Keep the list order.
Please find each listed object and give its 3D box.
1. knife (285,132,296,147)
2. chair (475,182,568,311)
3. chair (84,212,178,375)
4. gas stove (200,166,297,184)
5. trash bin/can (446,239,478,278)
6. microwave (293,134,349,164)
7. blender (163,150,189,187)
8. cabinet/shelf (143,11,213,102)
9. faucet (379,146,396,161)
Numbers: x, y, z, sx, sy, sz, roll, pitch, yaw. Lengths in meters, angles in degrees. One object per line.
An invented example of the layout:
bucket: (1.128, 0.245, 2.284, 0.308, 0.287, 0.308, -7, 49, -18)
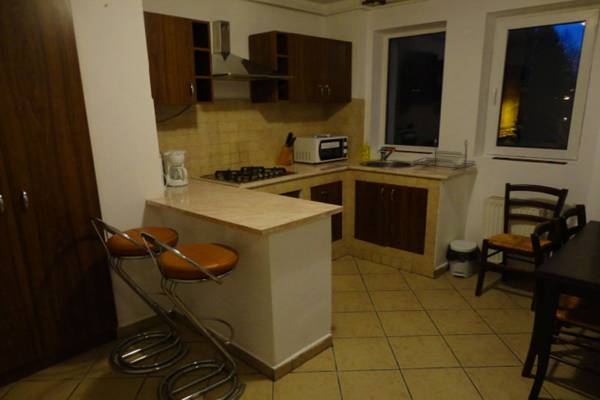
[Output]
knife: (-0.123, -0.742, 5.483, 0.114, 0.208, 0.065, 17, -7, 3)
chair: (2.229, 0.418, 4.484, 0.719, 1.065, 0.706, 6, 15, 29)
chair: (-1.320, 0.746, 3.732, 0.730, 1.266, 0.693, -9, 14, -42)
gas stove: (-0.561, -0.309, 4.820, 0.870, 0.101, 0.715, -13, 20, -40)
trash bin/can: (1.823, 0.635, 5.028, 0.394, 0.351, 0.334, -13, 18, -34)
microwave: (0.237, -0.630, 5.400, 0.403, 0.291, 0.585, 10, 17, 40)
blender: (-1.231, -0.304, 4.285, 0.213, 0.344, 0.141, -4, 17, -13)
cabinet/shelf: (-1.270, -1.358, 4.339, 0.315, 0.794, 0.874, 6, 14, 27)
faucet: (1.099, -0.592, 5.549, 0.215, 0.201, 0.164, 13, 22, 34)
